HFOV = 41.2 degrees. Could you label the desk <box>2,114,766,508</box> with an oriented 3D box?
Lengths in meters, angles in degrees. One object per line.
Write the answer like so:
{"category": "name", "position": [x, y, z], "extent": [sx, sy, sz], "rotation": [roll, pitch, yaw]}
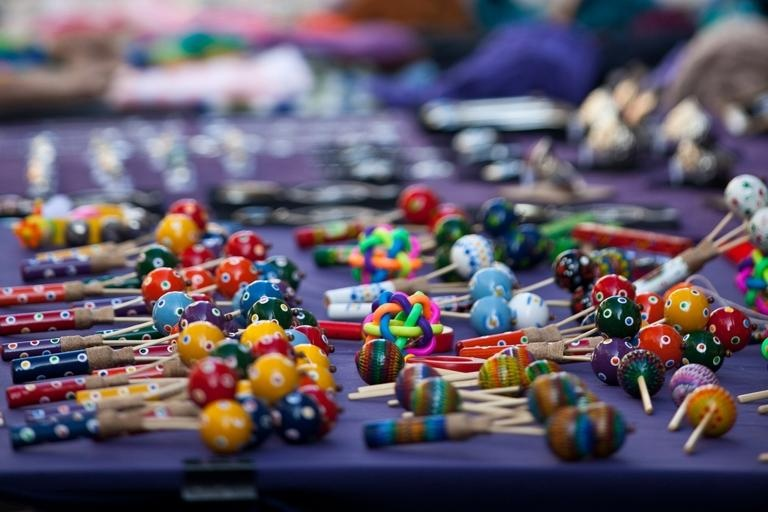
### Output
{"category": "desk", "position": [0.028, 0.250, 4.747], "extent": [1.809, 2.104, 1.822], "rotation": [-5, 0, 6]}
